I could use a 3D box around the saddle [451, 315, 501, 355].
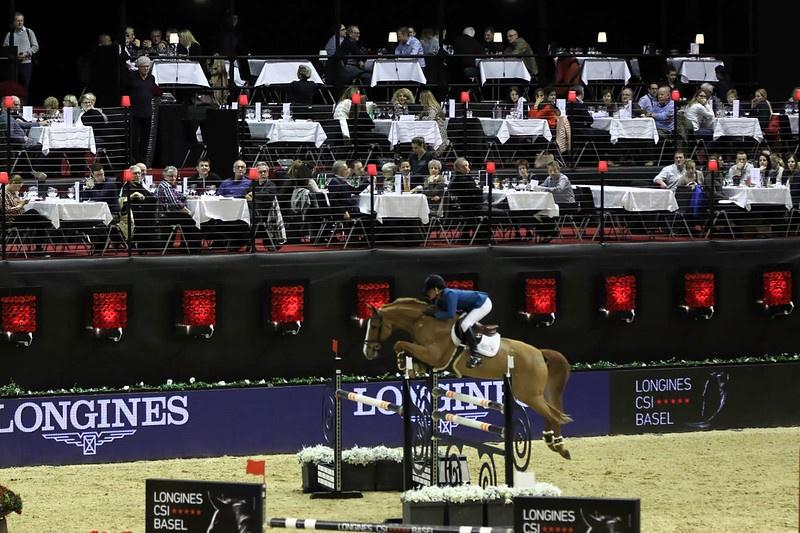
[{"bbox_3d":[1.173,1.301,30.595,1.163,0.646,0.841,4,6,-11],"label":"saddle"}]

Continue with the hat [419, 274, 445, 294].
[{"bbox_3d":[0.552,0.299,29.861,0.255,0.248,0.353,-12,8,-38],"label":"hat"}]

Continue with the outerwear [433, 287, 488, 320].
[{"bbox_3d":[1.040,0.661,30.140,0.730,0.301,0.533,-11,-2,-10],"label":"outerwear"}]

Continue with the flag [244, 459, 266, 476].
[{"bbox_3d":[-2.272,3.181,26.571,0.253,0.314,0.305,-1,16,5],"label":"flag"}]
